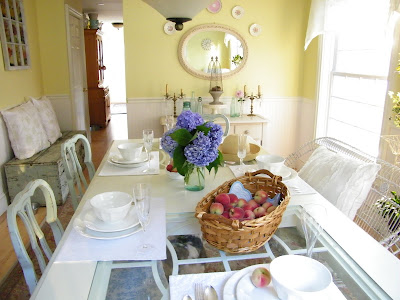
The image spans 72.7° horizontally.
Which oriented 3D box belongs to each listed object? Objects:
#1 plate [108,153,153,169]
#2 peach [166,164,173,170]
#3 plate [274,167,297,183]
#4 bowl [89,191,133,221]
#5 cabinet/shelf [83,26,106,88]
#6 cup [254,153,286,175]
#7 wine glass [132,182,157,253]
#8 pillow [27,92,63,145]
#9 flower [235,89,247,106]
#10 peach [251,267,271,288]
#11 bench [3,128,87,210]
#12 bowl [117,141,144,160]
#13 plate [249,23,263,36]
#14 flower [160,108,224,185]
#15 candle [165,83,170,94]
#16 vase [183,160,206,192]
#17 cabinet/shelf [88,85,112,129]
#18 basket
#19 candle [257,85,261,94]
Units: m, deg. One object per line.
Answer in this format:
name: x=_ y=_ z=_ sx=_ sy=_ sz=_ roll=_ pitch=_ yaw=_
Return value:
plate: x=-0.518 y=0.043 z=2.023 sx=0.297 sy=0.100 sz=0.291 roll=-2 pitch=14 yaw=-23
peach: x=-0.196 y=0.114 z=1.776 sx=0.033 sy=0.038 sz=0.035 roll=2 pitch=-1 yaw=2
plate: x=0.556 y=0.152 z=1.735 sx=0.088 sy=0.014 sz=0.095 roll=-3 pitch=32 yaw=-4
bowl: x=-0.396 y=0.255 z=1.220 sx=0.139 sy=0.078 sz=0.178 roll=3 pitch=13 yaw=14
cabinet/shelf: x=-2.674 y=-2.350 z=6.920 sx=0.288 sy=1.224 sz=1.106 roll=0 pitch=16 yaw=-6
cup: x=0.436 y=0.080 z=1.681 sx=0.149 sy=0.126 sz=0.173 roll=1 pitch=16 yaw=-10
wine glass: x=-0.245 y=0.267 z=1.102 sx=0.072 sy=0.254 sz=0.078 roll=-6 pitch=31 yaw=-45
pillow: x=-2.184 y=-0.456 z=3.970 sx=0.238 sy=0.622 sz=0.584 roll=1 pitch=17 yaw=-5
flower: x=0.649 y=-0.824 z=4.293 sx=0.162 sy=0.235 sz=0.205 roll=4 pitch=21 yaw=12
peach: x=0.203 y=0.427 z=0.904 sx=0.051 sy=0.055 sz=0.053 roll=25 pitch=57 yaw=36
bench: x=-1.866 y=0.438 z=3.616 sx=0.732 sy=0.731 sz=1.451 roll=1 pitch=21 yaw=-2
bowl: x=-0.500 y=-0.014 z=2.019 sx=0.135 sy=0.085 sz=0.144 roll=2 pitch=6 yaw=0
plate: x=0.838 y=-1.840 z=4.153 sx=0.187 sy=0.176 sz=0.029 roll=-4 pitch=20 yaw=-8
flower: x=-0.042 y=-0.036 z=1.572 sx=0.323 sy=0.395 sz=0.366 roll=12 pitch=3 yaw=5
candle: x=-0.509 y=-0.936 z=4.196 sx=0.048 sy=0.155 sz=0.094 roll=3 pitch=21 yaw=10
vase: x=-0.032 y=0.150 z=1.580 sx=0.082 sy=0.147 sz=0.118 roll=-5 pitch=18 yaw=-21
cabinet/shelf: x=-2.632 y=-1.142 z=7.173 sx=0.365 sy=0.914 sz=1.254 roll=0 pitch=15 yaw=-7
basket: x=0.168 y=0.157 z=1.167 sx=0.302 sy=0.386 sz=0.273 roll=-4 pitch=16 yaw=-17
candle: x=0.930 y=-0.944 z=4.285 sx=0.050 sy=0.149 sz=0.208 roll=4 pitch=21 yaw=12
